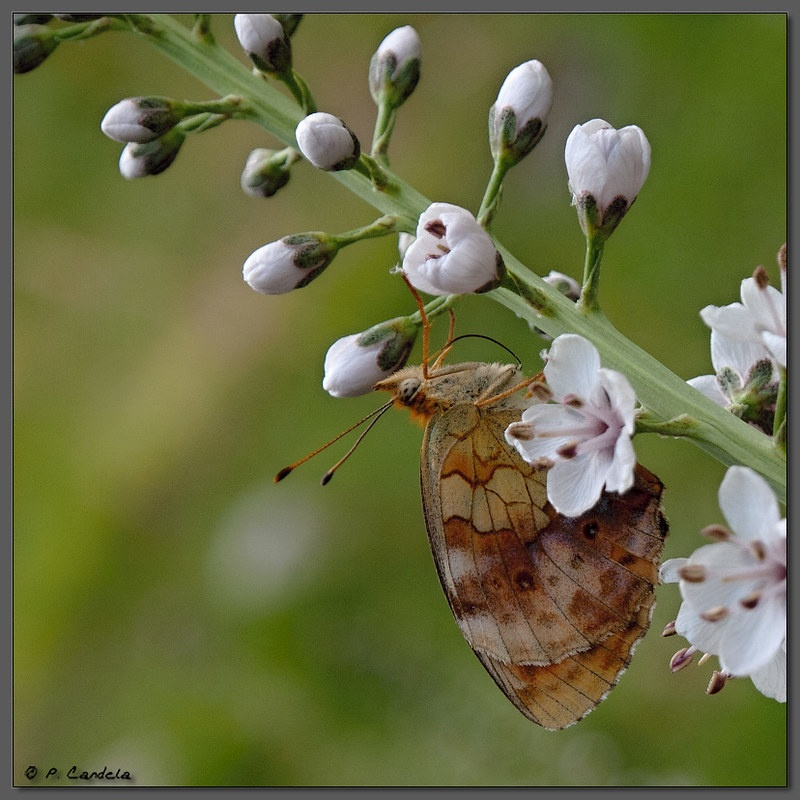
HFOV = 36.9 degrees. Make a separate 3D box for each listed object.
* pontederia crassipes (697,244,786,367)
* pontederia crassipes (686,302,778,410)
[{"bbox_3d":[1.330,-0.288,4.645,0.337,0.305,0.522,2,-57,15],"label":"pontederia crassipes"},{"bbox_3d":[1.449,-0.127,5.221,0.351,0.234,0.454,15,-75,-5],"label":"pontederia crassipes"}]
